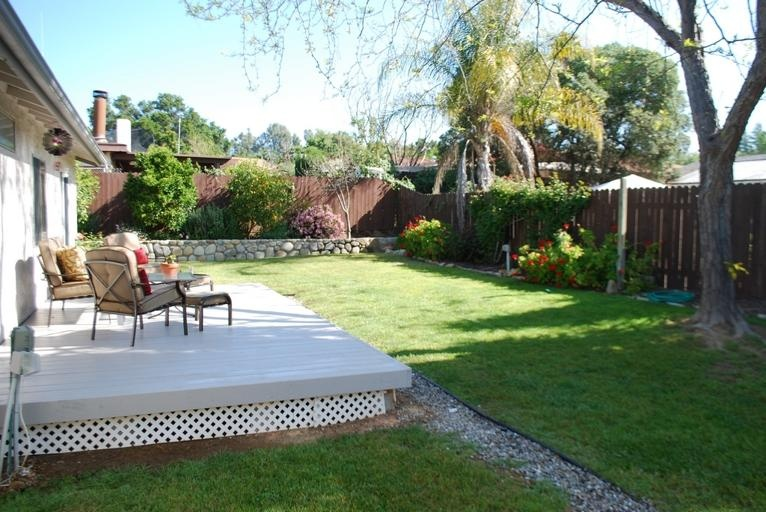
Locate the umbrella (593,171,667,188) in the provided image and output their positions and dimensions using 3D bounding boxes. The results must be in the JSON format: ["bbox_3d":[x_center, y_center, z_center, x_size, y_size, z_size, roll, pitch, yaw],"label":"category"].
[{"bbox_3d":[5.674,-1.731,12.462,1.209,0.457,3.934,2,6,23],"label":"umbrella"}]

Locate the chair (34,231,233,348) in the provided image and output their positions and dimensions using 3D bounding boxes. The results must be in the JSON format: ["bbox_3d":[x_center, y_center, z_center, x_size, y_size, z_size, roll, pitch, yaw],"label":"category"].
[{"bbox_3d":[-3.844,0.340,7.900,1.977,1.207,3.429,-4,7,-33],"label":"chair"}]

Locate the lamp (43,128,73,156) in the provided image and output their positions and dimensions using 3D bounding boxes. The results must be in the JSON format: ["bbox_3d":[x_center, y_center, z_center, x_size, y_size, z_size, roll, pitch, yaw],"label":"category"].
[{"bbox_3d":[-5.418,-1.905,8.928,0.485,0.179,0.493,-12,-3,-12],"label":"lamp"}]
